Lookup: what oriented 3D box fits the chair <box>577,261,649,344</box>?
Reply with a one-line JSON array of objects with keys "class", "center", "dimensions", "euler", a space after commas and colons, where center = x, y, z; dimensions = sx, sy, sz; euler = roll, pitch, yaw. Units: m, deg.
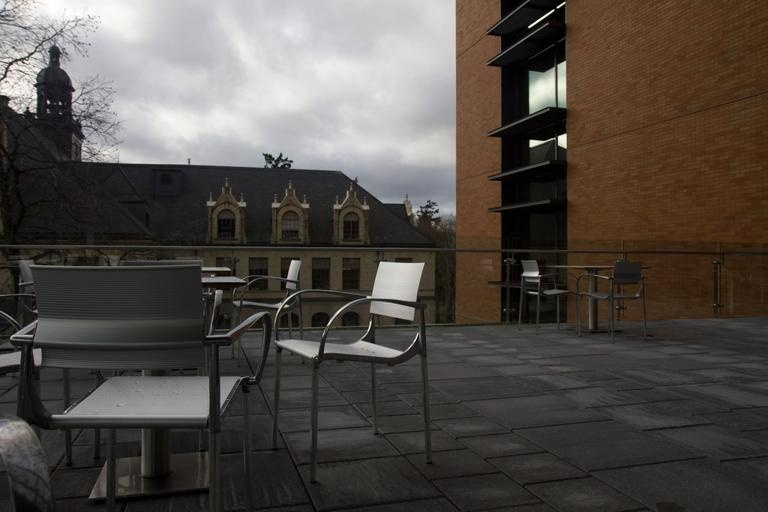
[{"class": "chair", "center": [2.868, 0.560, 8.009], "dimensions": [1.197, 0.904, 1.318], "euler": [-3, -5, 36]}]
